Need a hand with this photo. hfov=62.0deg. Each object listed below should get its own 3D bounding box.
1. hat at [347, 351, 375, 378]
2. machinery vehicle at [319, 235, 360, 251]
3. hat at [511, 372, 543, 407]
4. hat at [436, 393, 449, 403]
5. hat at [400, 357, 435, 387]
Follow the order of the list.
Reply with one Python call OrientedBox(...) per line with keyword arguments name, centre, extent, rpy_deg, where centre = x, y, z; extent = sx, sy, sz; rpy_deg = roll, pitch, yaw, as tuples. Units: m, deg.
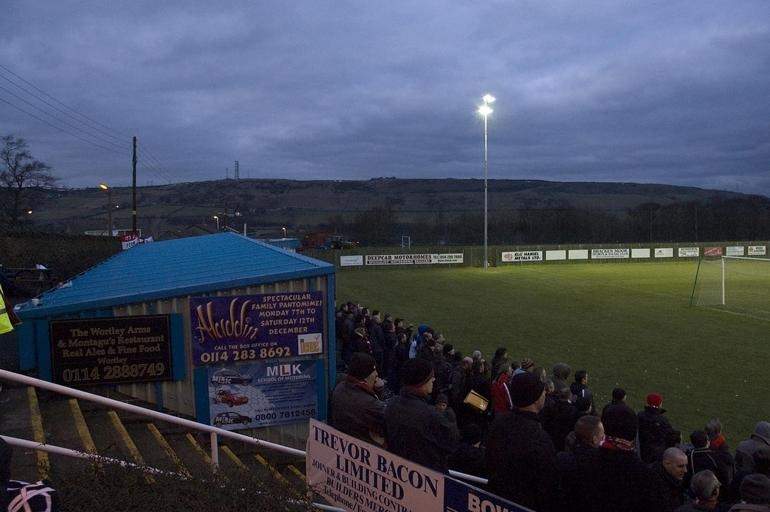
OrientedBox(name="hat", centre=(-0.360, 1.479, 8.549), extent=(0.323, 0.251, 0.321), rpy_deg=(-24, 3, -35))
OrientedBox(name="machinery vehicle", centre=(-5.171, -1.035, 57.939), extent=(3.309, 1.474, 2.114), rpy_deg=(-1, 1, 28))
OrientedBox(name="hat", centre=(1.724, 1.609, 7.694), extent=(0.384, 0.321, 0.432), rpy_deg=(-5, -17, 7))
OrientedBox(name="hat", centre=(0.964, 2.349, 10.577), extent=(0.194, 0.157, 0.246), rpy_deg=(1, -6, 1))
OrientedBox(name="hat", centre=(0.424, 1.482, 8.281), extent=(0.380, 0.263, 0.360), rpy_deg=(-3, 5, -23))
